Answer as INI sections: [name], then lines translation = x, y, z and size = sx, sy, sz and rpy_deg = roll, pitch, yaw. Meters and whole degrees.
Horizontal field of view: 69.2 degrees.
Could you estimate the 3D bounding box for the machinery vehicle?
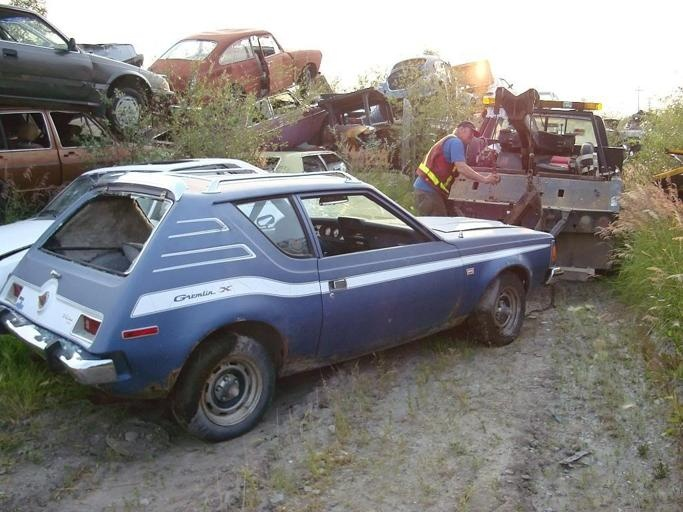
[machinery vehicle]
translation = 3.405, -1.378, 8.712
size = 2.908, 2.781, 4.601
rpy_deg = 12, 18, 37
